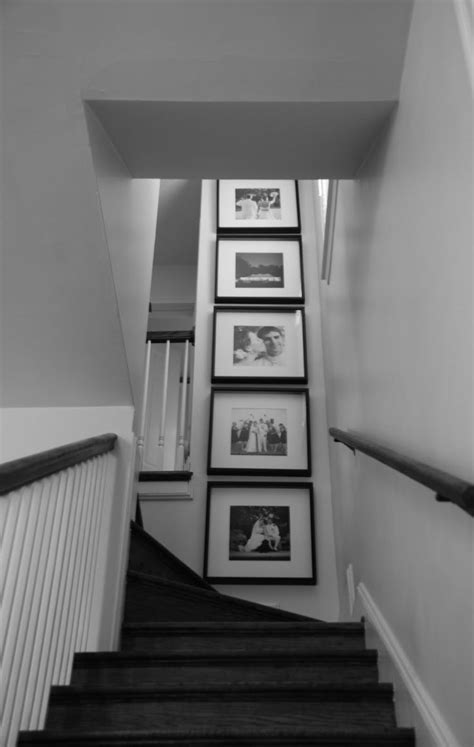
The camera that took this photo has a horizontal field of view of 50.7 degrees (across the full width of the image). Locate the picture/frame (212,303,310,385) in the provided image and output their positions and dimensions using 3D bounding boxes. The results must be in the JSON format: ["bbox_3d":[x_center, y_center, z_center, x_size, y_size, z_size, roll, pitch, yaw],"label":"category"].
[{"bbox_3d":[0.166,-0.197,3.574,0.472,0.488,0.056,0,-23,-1],"label":"picture/frame"}]

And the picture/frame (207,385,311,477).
[{"bbox_3d":[0.147,0.402,3.360,0.495,0.530,0.058,1,-27,0],"label":"picture/frame"}]

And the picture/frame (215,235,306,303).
[{"bbox_3d":[0.173,-0.779,3.784,0.467,0.415,0.028,0,-20,-1],"label":"picture/frame"}]

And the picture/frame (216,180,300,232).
[{"bbox_3d":[0.157,-1.314,3.939,0.626,0.556,0.038,-1,-21,-1],"label":"picture/frame"}]
